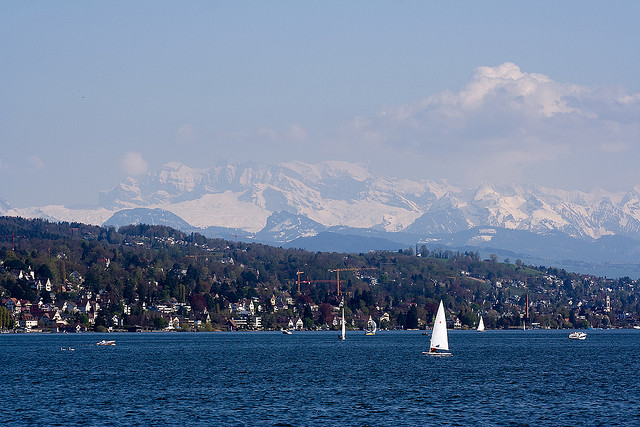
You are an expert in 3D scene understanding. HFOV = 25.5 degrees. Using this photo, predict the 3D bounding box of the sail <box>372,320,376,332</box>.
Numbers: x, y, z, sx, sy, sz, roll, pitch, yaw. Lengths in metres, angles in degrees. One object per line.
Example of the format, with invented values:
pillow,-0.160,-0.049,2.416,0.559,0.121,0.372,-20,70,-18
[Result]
sail,17.604,37.987,479.698,0.718,3.212,2.799,1,-10,-6
